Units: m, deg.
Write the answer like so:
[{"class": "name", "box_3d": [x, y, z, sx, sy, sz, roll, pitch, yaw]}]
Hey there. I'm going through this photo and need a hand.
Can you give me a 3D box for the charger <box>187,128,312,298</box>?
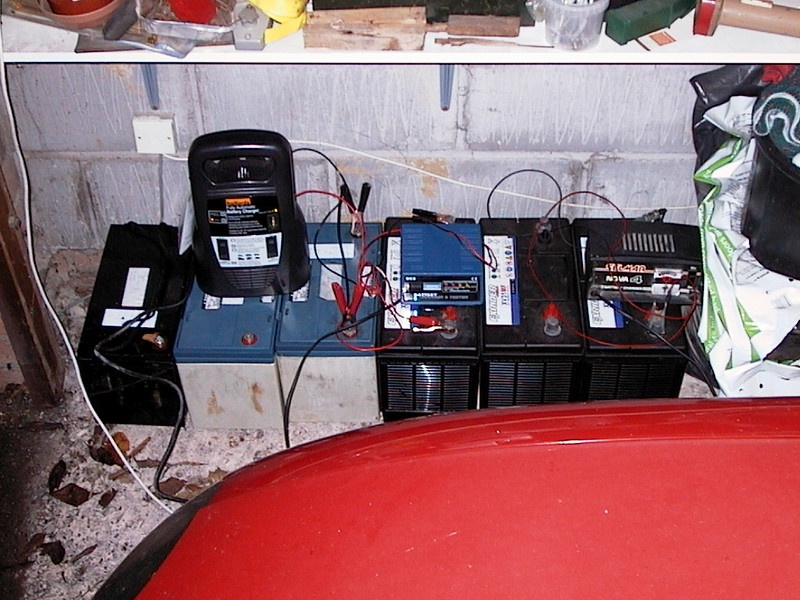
[{"class": "charger", "box_3d": [-0.477, -0.277, 1.982, 0.357, 0.514, 0.178, -3, 39, -9]}]
